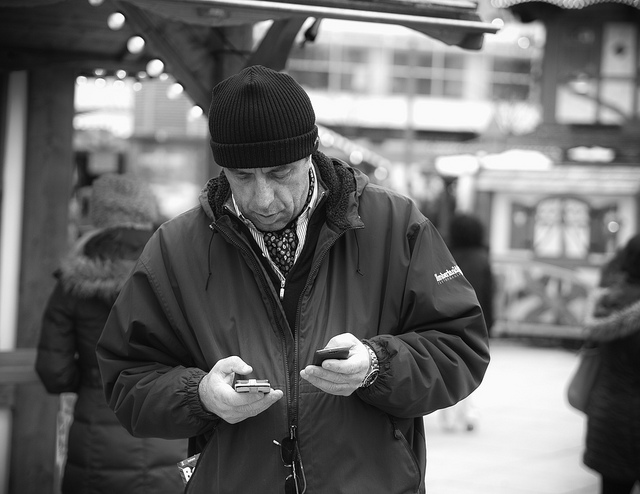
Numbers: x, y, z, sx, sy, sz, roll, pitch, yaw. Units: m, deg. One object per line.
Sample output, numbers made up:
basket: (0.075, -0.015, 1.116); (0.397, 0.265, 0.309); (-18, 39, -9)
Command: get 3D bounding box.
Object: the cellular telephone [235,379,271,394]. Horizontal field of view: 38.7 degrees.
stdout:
cellular telephone: (-0.324, 0.658, 4.321); (0.186, 0.065, 0.106); (4, 2, 24)
